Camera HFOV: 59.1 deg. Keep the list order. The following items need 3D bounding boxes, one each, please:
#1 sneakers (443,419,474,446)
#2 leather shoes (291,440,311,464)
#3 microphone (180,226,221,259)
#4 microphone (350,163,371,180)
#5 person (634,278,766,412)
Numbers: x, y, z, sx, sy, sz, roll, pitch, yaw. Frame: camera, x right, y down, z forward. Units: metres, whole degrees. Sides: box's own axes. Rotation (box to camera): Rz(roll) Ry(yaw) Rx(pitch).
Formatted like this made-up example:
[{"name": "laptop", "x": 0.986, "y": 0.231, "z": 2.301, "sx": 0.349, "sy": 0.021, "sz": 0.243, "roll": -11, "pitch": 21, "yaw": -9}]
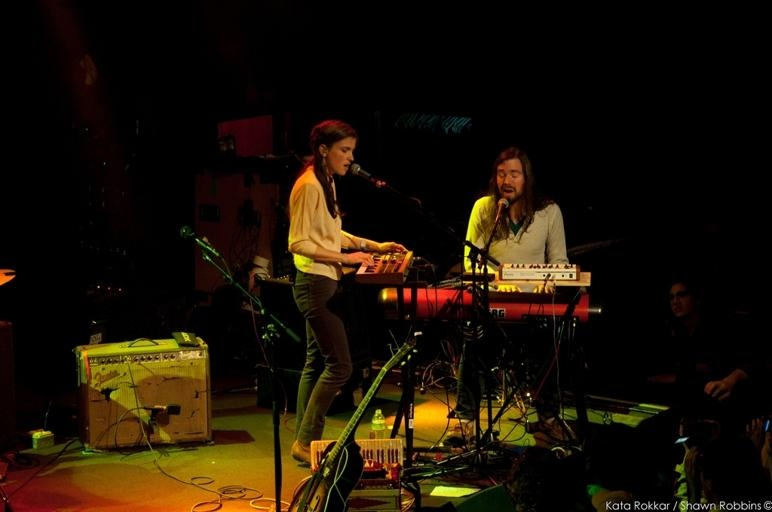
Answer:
[{"name": "sneakers", "x": 0.584, "y": 1.500, "z": 5.669, "sx": 0.175, "sy": 0.286, "sz": 0.302, "roll": 4, "pitch": 7, "yaw": 22}, {"name": "leather shoes", "x": -0.670, "y": 1.539, "z": 5.292, "sx": 0.153, "sy": 0.176, "sz": 0.194, "roll": 7, "pitch": -8, "yaw": -18}, {"name": "microphone", "x": -1.284, "y": -0.095, "z": 4.699, "sx": 0.234, "sy": 0.199, "sz": 0.576, "roll": 1, "pitch": 3, "yaw": -17}, {"name": "microphone", "x": -0.191, "y": -0.612, "z": 4.912, "sx": 0.131, "sy": 0.121, "sz": 0.220, "roll": 1, "pitch": 4, "yaw": -16}, {"name": "person", "x": 2.668, "y": 0.716, "z": 5.484, "sx": 0.552, "sy": 0.968, "sz": 0.836, "roll": 2, "pitch": 4, "yaw": -6}]
